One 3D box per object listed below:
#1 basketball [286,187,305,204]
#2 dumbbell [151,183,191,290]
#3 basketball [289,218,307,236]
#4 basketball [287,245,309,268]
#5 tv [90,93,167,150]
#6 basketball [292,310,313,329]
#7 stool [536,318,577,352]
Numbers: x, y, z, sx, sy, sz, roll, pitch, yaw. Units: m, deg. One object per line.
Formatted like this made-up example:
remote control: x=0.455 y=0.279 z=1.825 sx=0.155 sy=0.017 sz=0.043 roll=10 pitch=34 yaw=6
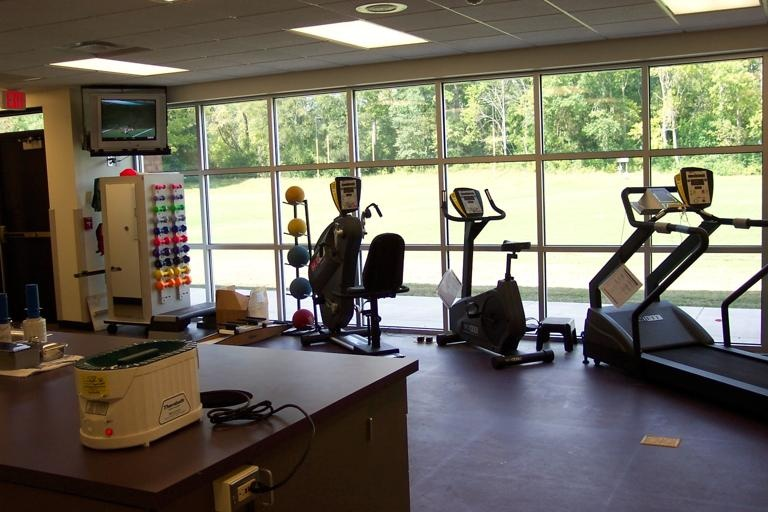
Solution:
basketball: x=-1.221 y=-0.834 z=8.346 sx=0.249 sy=0.259 sz=0.196 roll=-3 pitch=12 yaw=-2
dumbbell: x=-3.200 y=-0.306 z=9.071 sx=0.223 sy=1.591 sz=0.694 roll=4 pitch=14 yaw=29
basketball: x=-1.193 y=-0.395 z=8.374 sx=0.254 sy=0.266 sz=0.257 roll=-4 pitch=12 yaw=-8
basketball: x=-1.175 y=-0.015 z=8.327 sx=0.301 sy=0.326 sz=0.298 roll=2 pitch=9 yaw=26
tv: x=-3.793 y=-1.995 z=9.020 sx=1.096 sy=0.948 sz=0.196 roll=-7 pitch=13 yaw=-21
basketball: x=-1.109 y=0.864 z=8.357 sx=0.296 sy=0.289 sz=0.241 roll=-5 pitch=13 yaw=-13
stool: x=2.108 y=0.943 z=7.467 sx=0.435 sy=0.325 sz=0.425 roll=-1 pitch=-3 yaw=17
